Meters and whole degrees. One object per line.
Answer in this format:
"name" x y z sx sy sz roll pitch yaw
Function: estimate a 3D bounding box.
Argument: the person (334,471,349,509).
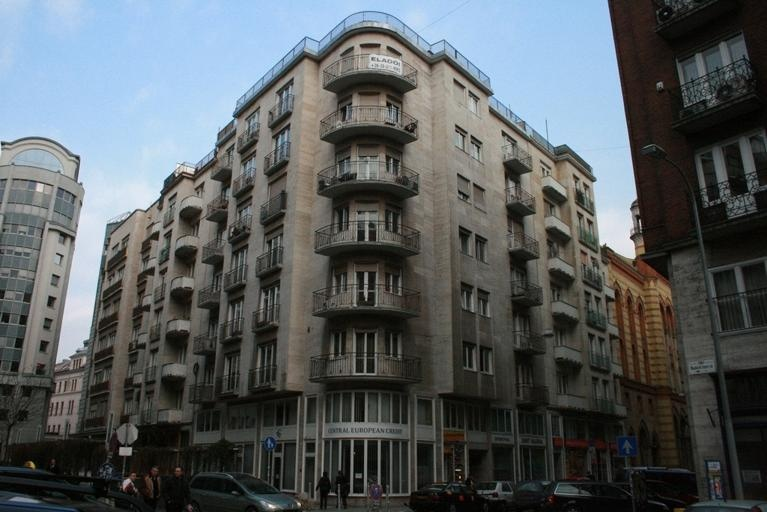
"person" -2.399 13.483 36.657 0.679 2.083 1.077 0 -25 -1
